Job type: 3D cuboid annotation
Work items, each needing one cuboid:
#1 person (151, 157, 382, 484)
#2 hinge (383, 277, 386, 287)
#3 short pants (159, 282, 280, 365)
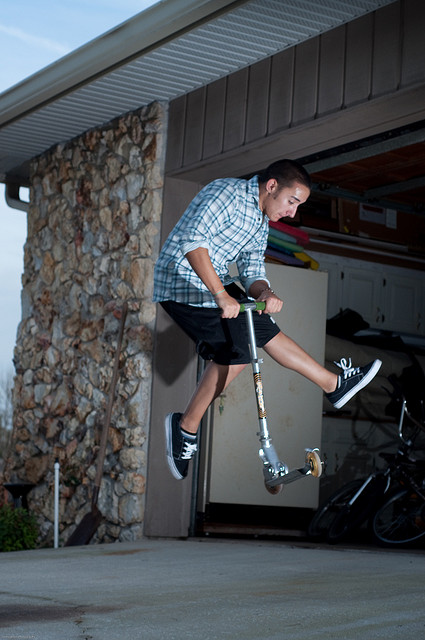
[{"bbox_3d":[0.162,0.054,2.967,0.933,1.299,0.814,7,-3,-29],"label":"person"},{"bbox_3d":[1.977,-0.438,6.668,0.018,0.068,0.066,-4,-8,24],"label":"hinge"},{"bbox_3d":[0.026,0.009,2.952,0.630,0.333,0.259,3,-3,43],"label":"short pants"}]
